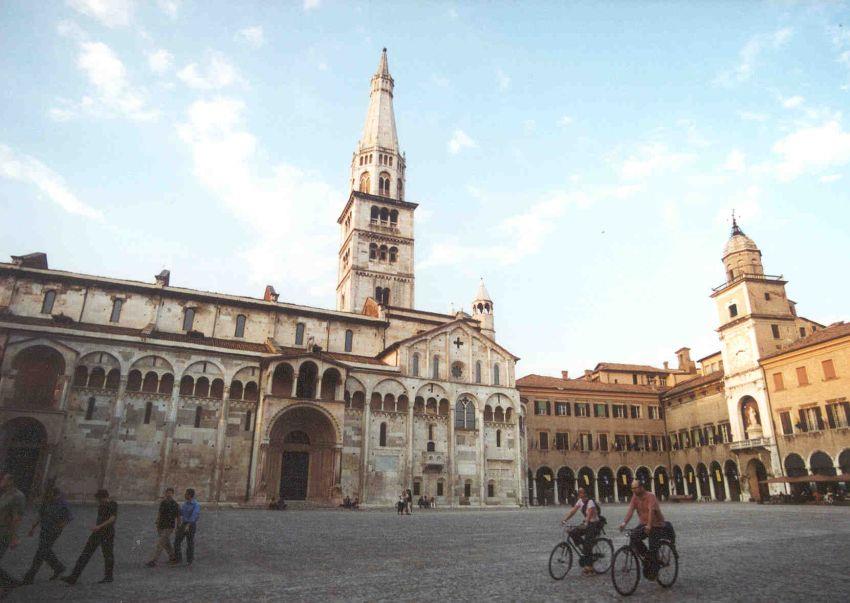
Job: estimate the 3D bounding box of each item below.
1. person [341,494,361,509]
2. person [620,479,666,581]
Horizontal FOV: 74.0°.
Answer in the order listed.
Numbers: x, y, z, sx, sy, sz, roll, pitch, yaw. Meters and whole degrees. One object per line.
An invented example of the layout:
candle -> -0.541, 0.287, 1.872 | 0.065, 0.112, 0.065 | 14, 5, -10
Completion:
person -> -5.150, 13.999, 39.302 | 1.243, 0.539, 1.657 | 3, -16, -7
person -> 5.778, 5.911, 14.688 | 1.005, 2.408, 1.331 | -6, -19, 20
